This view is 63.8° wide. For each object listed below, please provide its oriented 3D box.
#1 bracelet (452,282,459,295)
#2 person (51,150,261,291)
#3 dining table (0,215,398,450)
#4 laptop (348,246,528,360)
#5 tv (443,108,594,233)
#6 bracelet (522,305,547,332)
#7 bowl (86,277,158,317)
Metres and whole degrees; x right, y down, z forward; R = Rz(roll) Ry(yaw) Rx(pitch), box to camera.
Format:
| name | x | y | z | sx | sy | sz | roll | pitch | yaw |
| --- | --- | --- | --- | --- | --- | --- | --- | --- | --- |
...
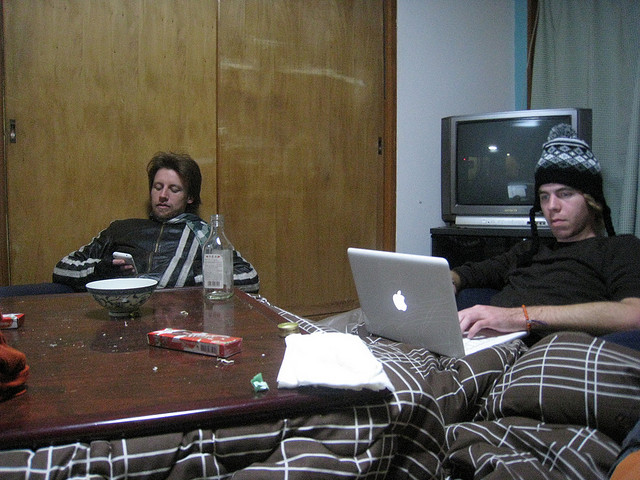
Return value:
| name | x | y | z | sx | sy | sz | roll | pitch | yaw |
| --- | --- | --- | --- | --- | --- | --- | --- | --- | --- |
| bracelet | 0.582 | 0.205 | 2.192 | 0.019 | 0.044 | 0.032 | 2 | 11 | 16 |
| person | -0.813 | -0.037 | 2.615 | 0.976 | 0.818 | 0.515 | 4 | -11 | -11 |
| dining table | -0.454 | 0.181 | 1.463 | 0.813 | 0.380 | 1.143 | -8 | 12 | -32 |
| laptop | 0.390 | 0.177 | 1.732 | 0.476 | 0.312 | 0.447 | -8 | 8 | -44 |
| tv | 1.226 | -0.421 | 3.325 | 0.827 | 0.712 | 0.457 | 1 | -2 | 18 |
| bracelet | 0.723 | 0.269 | 1.738 | 0.081 | 0.076 | 0.047 | 4 | 11 | 28 |
| bowl | -0.608 | 0.152 | 1.617 | 0.150 | 0.070 | 0.154 | 0 | -2 | 0 |
